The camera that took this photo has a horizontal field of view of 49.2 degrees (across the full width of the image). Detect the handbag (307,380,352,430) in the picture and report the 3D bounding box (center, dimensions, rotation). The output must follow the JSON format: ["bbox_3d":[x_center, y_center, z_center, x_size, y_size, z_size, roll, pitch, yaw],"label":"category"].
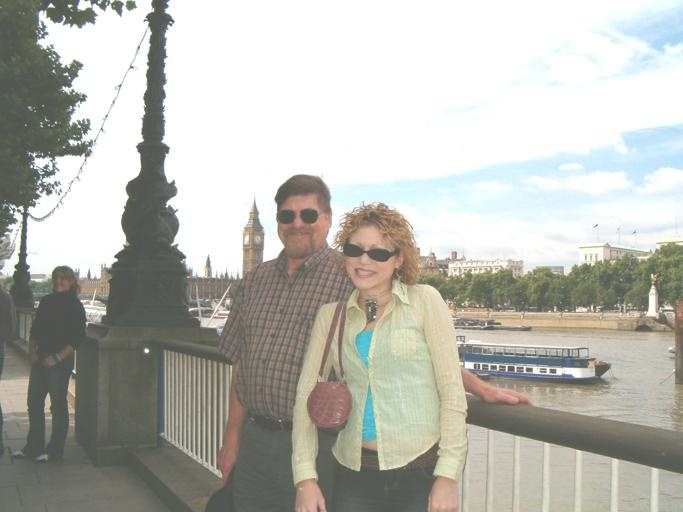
[{"bbox_3d":[-0.053,0.666,3.314,0.192,0.205,0.083,-4,-23,18],"label":"handbag"}]

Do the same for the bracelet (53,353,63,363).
[{"bbox_3d":[-2.706,0.966,7.059,0.087,0.076,0.021,-8,-7,17],"label":"bracelet"}]

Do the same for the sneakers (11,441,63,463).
[{"bbox_3d":[-2.868,1.835,6.990,0.505,0.191,0.168,-3,-7,15],"label":"sneakers"}]

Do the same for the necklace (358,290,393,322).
[{"bbox_3d":[0.150,0.222,3.423,0.124,0.157,0.057,1,-12,15],"label":"necklace"}]

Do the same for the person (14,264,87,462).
[{"bbox_3d":[-2.810,1.008,7.180,0.607,1.824,0.521,1,-2,-23],"label":"person"}]
